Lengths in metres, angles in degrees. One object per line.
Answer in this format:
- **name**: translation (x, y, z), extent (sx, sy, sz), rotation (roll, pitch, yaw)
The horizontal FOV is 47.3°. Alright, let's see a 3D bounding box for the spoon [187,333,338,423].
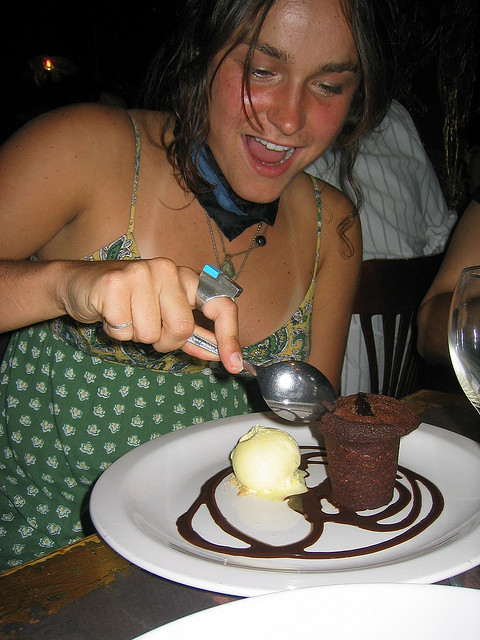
- **spoon**: translation (0.104, 0.136, 1.034), extent (0.449, 0.101, 0.049), rotation (28, -10, -29)

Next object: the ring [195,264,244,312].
- **ring**: translation (-0.050, -0.057, 0.998), extent (0.089, 0.087, 0.026), rotation (35, -19, -4)

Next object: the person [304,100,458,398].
- **person**: translation (0.578, -0.351, 3.116), extent (1.018, 1.652, 0.926), rotation (11, 26, 23)

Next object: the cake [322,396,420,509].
- **cake**: translation (0.226, 0.248, 0.998), extent (0.194, 0.151, 0.185), rotation (-1, 0, -22)

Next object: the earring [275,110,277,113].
- **earring**: translation (0.080, -0.470, 1.237), extent (0.005, 0.006, 0.002), rotation (-2, 7, -6)
